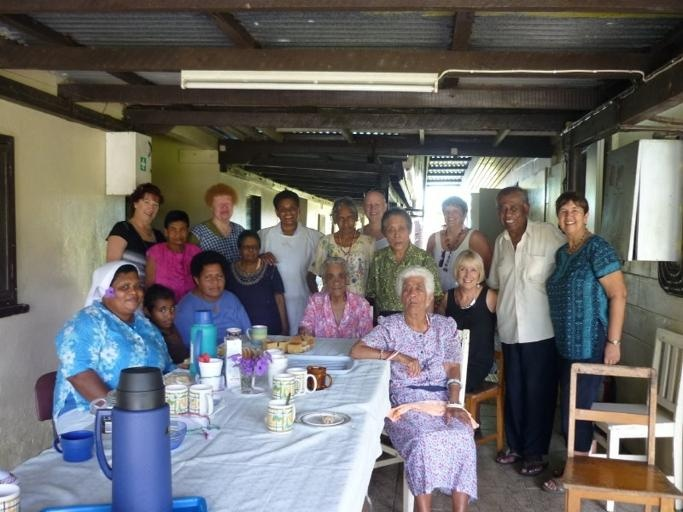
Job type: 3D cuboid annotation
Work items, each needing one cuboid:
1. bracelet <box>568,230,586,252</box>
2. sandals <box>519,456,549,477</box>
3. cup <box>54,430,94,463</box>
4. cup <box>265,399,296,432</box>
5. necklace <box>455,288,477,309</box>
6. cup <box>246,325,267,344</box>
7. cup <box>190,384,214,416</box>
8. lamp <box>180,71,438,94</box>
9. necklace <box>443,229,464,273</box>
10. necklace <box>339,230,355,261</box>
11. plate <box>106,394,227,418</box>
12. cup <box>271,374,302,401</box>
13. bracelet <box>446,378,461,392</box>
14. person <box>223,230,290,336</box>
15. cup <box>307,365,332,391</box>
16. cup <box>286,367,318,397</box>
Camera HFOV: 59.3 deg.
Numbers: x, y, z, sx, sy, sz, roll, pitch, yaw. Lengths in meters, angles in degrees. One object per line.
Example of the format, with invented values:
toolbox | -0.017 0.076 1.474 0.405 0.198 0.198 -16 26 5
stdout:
bracelet | 1.599 -0.099 4.055 0.108 0.094 0.133 -31 -2 17
sandals | 1.390 1.498 4.302 0.248 0.100 0.188 -1 2 1
cup | -1.054 0.746 2.356 0.102 0.084 0.126 -1 -5 4
cup | -0.263 0.689 2.554 0.103 0.102 0.134 1 -7 -5
necklace | 0.895 0.306 4.277 0.109 0.150 0.059 -1 -3 20
cup | -0.514 0.487 3.728 0.085 0.096 0.123 9 -15 -43
cup | -0.627 0.645 2.664 0.087 0.121 0.137 3 0 -43
lamp | -0.208 -1.105 3.799 1.626 0.162 0.182 -1 2 2
necklace | 0.903 -0.023 4.948 0.064 0.263 0.162 31 1 -18
necklace | 0.052 -0.088 4.761 0.142 0.227 0.214 -1 -39 2
plate | -0.685 0.580 2.315 0.256 0.058 0.244 2 -4 3
cup | -0.253 0.620 2.839 0.127 0.102 0.120 2 -2 0
bracelet | 0.688 0.789 3.658 0.083 0.031 0.091 1 1 0
person | -0.659 0.406 4.566 0.484 1.143 0.319 -4 14 -2
cup | -0.097 0.634 3.082 0.138 0.099 0.085 2 2 7
cup | -0.191 0.626 2.983 0.159 0.107 0.096 3 -1 11
